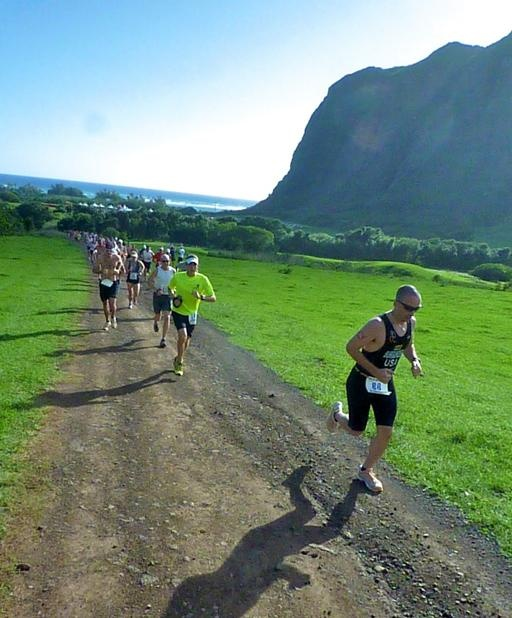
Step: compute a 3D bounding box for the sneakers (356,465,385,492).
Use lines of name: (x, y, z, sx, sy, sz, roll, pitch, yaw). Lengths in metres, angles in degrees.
sneakers: (1.616, 2.365, 6.246, 0.200, 0.211, 0.405, -6, 10, -28)

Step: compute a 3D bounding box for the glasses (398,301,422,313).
glasses: (1.894, -0.008, 5.326, 0.249, 0.124, 0.188, 1, 10, -39)

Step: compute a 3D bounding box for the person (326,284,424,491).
person: (1.631, 1.083, 5.844, 0.994, 2.886, 1.010, 9, 8, 16)

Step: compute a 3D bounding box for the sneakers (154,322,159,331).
sneakers: (-3.123, 0.493, 13.795, 0.107, 0.135, 0.334, -1, 41, -29)

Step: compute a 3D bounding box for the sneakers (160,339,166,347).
sneakers: (-2.605, 0.936, 12.316, 0.159, 0.216, 0.342, 6, 8, -11)

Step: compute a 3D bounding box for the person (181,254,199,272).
person: (-1.477, -1.034, 10.069, 0.270, 0.389, 1.500, 6, 8, -11)
